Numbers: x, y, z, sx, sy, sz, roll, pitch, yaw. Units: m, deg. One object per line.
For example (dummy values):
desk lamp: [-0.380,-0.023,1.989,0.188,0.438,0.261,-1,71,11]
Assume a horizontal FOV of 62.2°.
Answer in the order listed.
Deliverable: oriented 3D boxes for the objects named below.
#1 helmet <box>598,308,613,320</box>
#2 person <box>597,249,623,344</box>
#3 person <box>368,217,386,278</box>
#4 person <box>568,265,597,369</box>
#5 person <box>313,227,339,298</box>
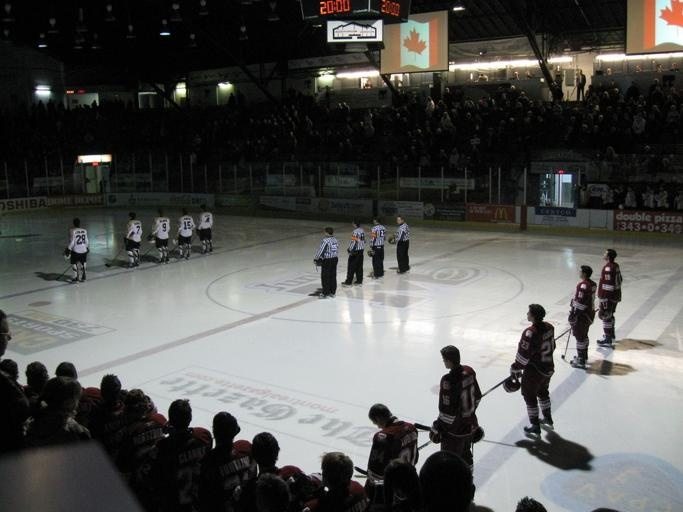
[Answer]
helmet: [5.707,1.257,12.169,0.270,0.286,0.213,16,1,44]
person: [5.826,1.011,12.333,0.722,1.912,0.336,-6,7,-36]
person: [1.178,-0.259,18.704,0.475,2.004,1.326,-1,6,3]
person: [4.920,1.177,11.481,0.472,2.011,1.252,1,6,23]
person: [-0.421,0.164,16.747,0.616,2.030,1.215,-1,6,1]
